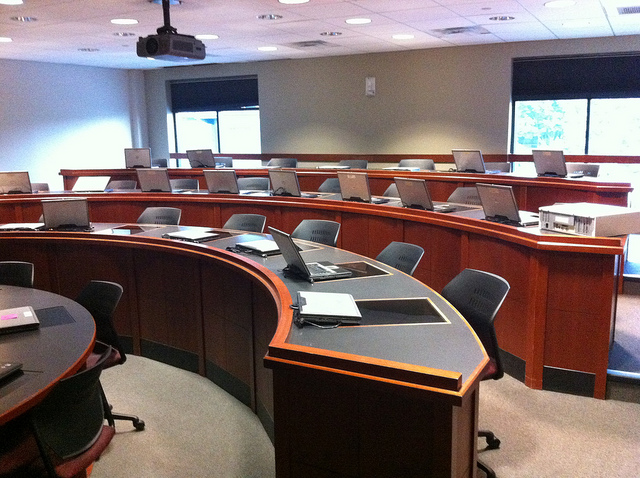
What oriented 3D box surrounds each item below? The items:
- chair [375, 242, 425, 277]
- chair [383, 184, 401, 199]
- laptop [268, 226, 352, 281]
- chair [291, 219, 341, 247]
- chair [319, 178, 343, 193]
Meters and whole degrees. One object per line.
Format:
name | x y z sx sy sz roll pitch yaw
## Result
chair | 0.600 0.130 3.632 0.275 0.384 0.261 0 14 -44
chair | 0.972 -0.629 6.393 0.166 0.183 0.204 0 -5 36
laptop | -0.071 0.080 3.198 0.532 0.352 0.424 -5 11 -12
chair | -0.028 -0.064 4.458 0.301 0.443 0.318 7 7 28
chair | 0.157 -0.766 7.122 0.271 0.361 0.297 1 5 4
